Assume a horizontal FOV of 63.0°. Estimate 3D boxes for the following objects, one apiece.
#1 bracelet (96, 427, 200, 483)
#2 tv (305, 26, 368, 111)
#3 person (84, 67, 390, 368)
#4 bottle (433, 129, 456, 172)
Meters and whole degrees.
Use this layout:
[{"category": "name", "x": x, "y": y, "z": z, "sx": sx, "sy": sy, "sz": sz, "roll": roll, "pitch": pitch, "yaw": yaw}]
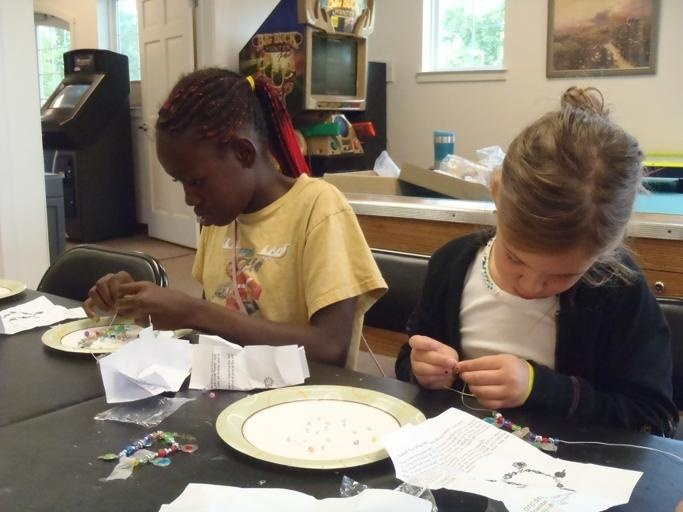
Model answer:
[{"category": "bracelet", "x": -0.287, "y": 0.294, "z": 0.840, "sx": 0.060, "sy": 0.013, "sz": 0.087, "roll": 12, "pitch": 17, "yaw": 31}, {"category": "tv", "x": -0.087, "y": -1.377, "z": 4.159, "sx": 0.227, "sy": 0.540, "sz": 0.623, "roll": 14, "pitch": 20, "yaw": 39}, {"category": "person", "x": -0.300, "y": -0.065, "z": 1.745, "sx": 0.769, "sy": 1.176, "sz": 0.742, "roll": -6, "pitch": 7, "yaw": -30}, {"category": "bottle", "x": 0.545, "y": -0.569, "z": 2.963, "sx": 0.119, "sy": 0.198, "sz": 0.115, "roll": -3, "pitch": 18, "yaw": 1}]
